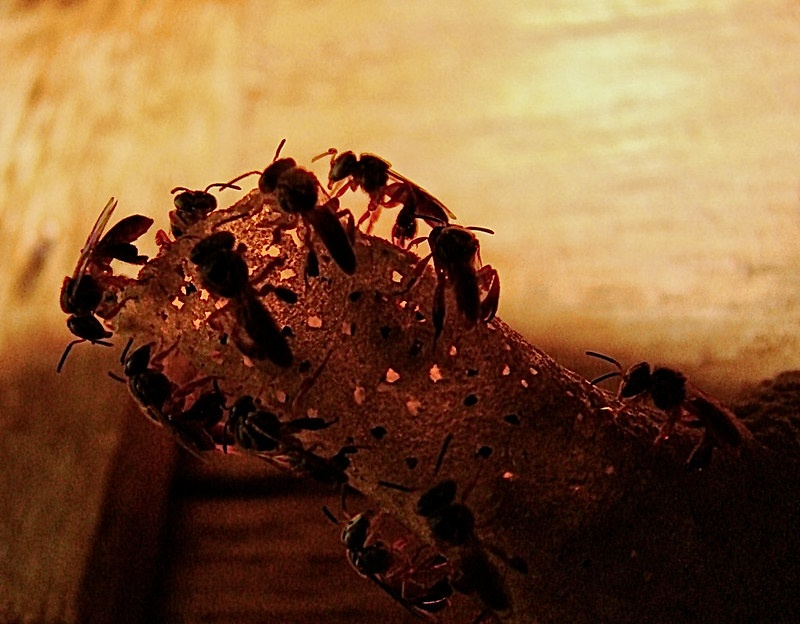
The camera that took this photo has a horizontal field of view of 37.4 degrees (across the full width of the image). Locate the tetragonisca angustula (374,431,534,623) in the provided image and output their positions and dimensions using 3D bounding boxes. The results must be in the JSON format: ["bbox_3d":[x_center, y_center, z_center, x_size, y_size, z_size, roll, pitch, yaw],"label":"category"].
[{"bbox_3d":[0.083,0.291,1.749,0.194,0.265,0.081,-32,2,16],"label":"tetragonisca angustula"}]

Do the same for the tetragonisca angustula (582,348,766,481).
[{"bbox_3d":[0.381,0.134,1.680,0.181,0.067,0.131,30,44,10],"label":"tetragonisca angustula"}]

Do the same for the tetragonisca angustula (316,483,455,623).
[{"bbox_3d":[-0.021,0.352,1.719,0.166,0.125,0.050,47,31,18],"label":"tetragonisca angustula"}]
